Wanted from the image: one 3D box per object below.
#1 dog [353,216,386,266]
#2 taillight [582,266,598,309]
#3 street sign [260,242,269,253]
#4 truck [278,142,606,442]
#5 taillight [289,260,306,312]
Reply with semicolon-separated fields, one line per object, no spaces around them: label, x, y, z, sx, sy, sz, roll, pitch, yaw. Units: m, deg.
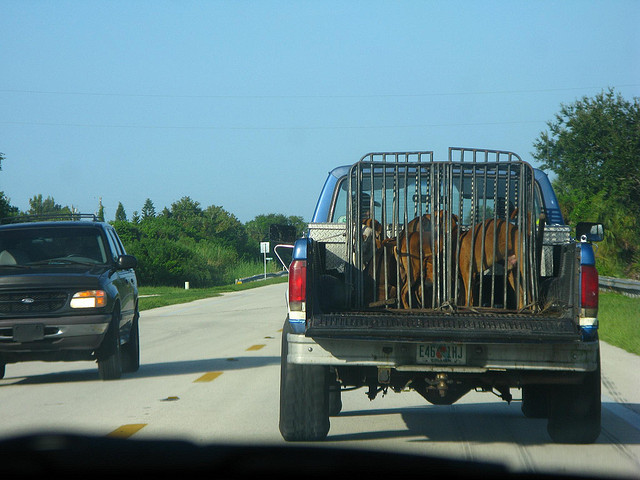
dog;0.499;-0.025;9.262;0.354;0.515;0.161;6;-18;-17
taillight;2.616;0.457;8.236;0.228;0.387;0.106;-2;0;-36
street sign;-4.044;0.532;63.084;0.869;0.967;0.487;0;-6;-5
truck;1.213;0.595;9.288;3.307;3.012;2.992;-1;0;-7
taillight;-0.210;0.450;8.238;0.171;0.422;0.458;0;-2;1
